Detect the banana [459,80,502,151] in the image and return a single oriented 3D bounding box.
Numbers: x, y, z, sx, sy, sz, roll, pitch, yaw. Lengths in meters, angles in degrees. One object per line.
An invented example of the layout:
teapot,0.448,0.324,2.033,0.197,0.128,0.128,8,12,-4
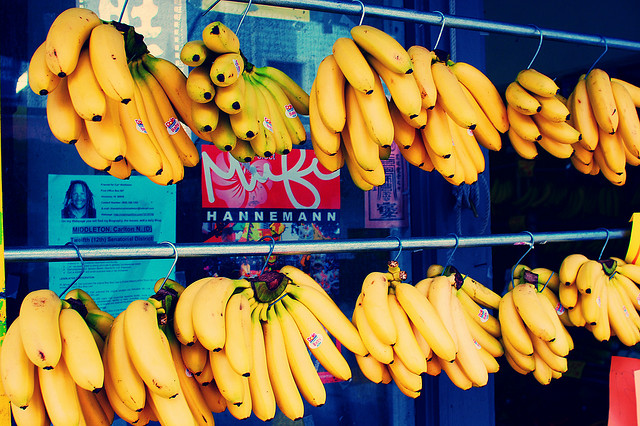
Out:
banana,0.638,-0.396,3.118,0.061,0.258,0.080,-21,17,23

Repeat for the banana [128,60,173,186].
banana,-0.594,-0.291,2.886,0.104,0.561,0.088,-19,48,-34

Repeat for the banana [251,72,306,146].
banana,-0.171,-0.401,3.017,0.059,0.277,0.094,-26,-6,-3

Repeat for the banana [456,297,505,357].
banana,0.650,0.471,3.162,0.078,0.250,0.052,-35,-1,-14

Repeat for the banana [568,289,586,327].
banana,1.081,0.423,3.261,0.042,0.200,0.063,-7,-20,25

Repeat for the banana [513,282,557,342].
banana,0.859,0.406,3.128,0.097,0.224,0.188,-3,3,-38

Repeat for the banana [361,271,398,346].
banana,0.238,0.378,3.045,0.146,0.111,0.395,3,36,-1

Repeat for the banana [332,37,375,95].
banana,0.126,-0.552,2.968,0.088,0.277,0.094,-11,-37,-23

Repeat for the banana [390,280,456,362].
banana,0.406,0.411,3.065,0.115,0.455,0.134,-31,-18,-4

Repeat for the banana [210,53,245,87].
banana,-0.336,-0.521,2.821,0.066,0.076,0.147,-27,25,35

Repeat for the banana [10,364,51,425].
banana,-1.031,0.704,2.772,0.077,0.343,0.127,-6,-6,13

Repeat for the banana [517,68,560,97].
banana,0.865,-0.515,3.084,0.084,0.172,0.073,-32,-29,-31

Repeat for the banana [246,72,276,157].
banana,-0.229,-0.385,2.984,0.069,0.328,0.093,-6,1,-1

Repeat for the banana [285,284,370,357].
banana,0.018,0.425,3.045,0.092,0.445,0.115,-34,-14,-51

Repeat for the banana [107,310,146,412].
banana,-0.709,0.565,2.851,0.100,0.442,0.120,1,-14,-31

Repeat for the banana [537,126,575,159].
banana,1.000,-0.316,3.220,0.162,0.126,0.061,5,-34,-14

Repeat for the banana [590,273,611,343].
banana,1.178,0.414,3.288,0.054,0.333,0.096,2,-10,7

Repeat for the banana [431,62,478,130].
banana,0.514,-0.442,3.035,0.101,0.335,0.105,-31,-7,22

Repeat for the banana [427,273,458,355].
banana,0.492,0.388,3.115,0.074,0.356,0.105,-16,-7,2

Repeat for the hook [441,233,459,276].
hook,0.528,0.173,3.183,0.007,0.176,0.059,11,7,3

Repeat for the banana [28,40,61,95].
banana,-0.993,-0.495,2.799,0.086,0.224,0.067,-1,-16,2

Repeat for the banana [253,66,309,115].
banana,-0.171,-0.481,3.139,0.314,0.126,0.094,25,-4,15

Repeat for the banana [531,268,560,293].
banana,0.977,0.282,3.334,0.093,0.109,0.034,18,-38,-30

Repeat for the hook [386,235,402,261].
hook,0.296,0.134,3.140,0.019,0.101,0.088,-10,-29,24

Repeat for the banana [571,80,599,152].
banana,1.070,-0.401,3.223,0.074,0.328,0.098,-8,-22,0

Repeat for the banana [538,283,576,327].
banana,0.985,0.384,3.221,0.052,0.172,0.043,-35,-2,-30

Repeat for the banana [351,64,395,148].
banana,0.211,-0.372,2.965,0.090,0.356,0.102,-14,8,16

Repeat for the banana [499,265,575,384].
banana,0.859,0.438,3.176,0.199,0.176,0.394,2,25,-22

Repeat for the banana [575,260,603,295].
banana,1.109,0.259,3.204,0.048,0.076,0.144,-37,14,46

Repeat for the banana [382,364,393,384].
banana,0.271,0.636,3.075,0.039,0.071,0.015,-4,18,-13

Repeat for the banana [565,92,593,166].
banana,1.059,-0.364,3.163,0.056,0.188,0.050,15,-43,-9

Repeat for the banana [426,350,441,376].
banana,0.463,0.604,3.120,0.046,0.107,0.031,3,-11,-8

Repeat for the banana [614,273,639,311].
banana,1.312,0.343,3.327,0.050,0.155,0.036,-33,-11,-9

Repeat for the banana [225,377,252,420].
banana,-0.305,0.681,2.910,0.069,0.183,0.056,-7,-9,-26

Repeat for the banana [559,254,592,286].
banana,1.058,0.228,3.260,0.062,0.108,0.188,-15,8,36

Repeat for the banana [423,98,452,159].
banana,0.441,-0.313,3.032,0.069,0.284,0.084,-8,-18,-8

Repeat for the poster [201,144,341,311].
poster,-0.248,0.013,3.740,0.664,0.004,1.018,2,38,-8

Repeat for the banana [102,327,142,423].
banana,-0.746,0.652,2.906,0.107,0.415,0.098,-11,0,-1

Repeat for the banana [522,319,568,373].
banana,0.905,0.535,3.133,0.054,0.214,0.066,-34,-11,24

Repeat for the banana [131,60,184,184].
banana,-0.618,-0.351,2.921,0.097,0.468,0.075,-21,-4,6

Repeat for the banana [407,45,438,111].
banana,0.386,-0.505,2.955,0.101,0.348,0.079,2,-30,-16
